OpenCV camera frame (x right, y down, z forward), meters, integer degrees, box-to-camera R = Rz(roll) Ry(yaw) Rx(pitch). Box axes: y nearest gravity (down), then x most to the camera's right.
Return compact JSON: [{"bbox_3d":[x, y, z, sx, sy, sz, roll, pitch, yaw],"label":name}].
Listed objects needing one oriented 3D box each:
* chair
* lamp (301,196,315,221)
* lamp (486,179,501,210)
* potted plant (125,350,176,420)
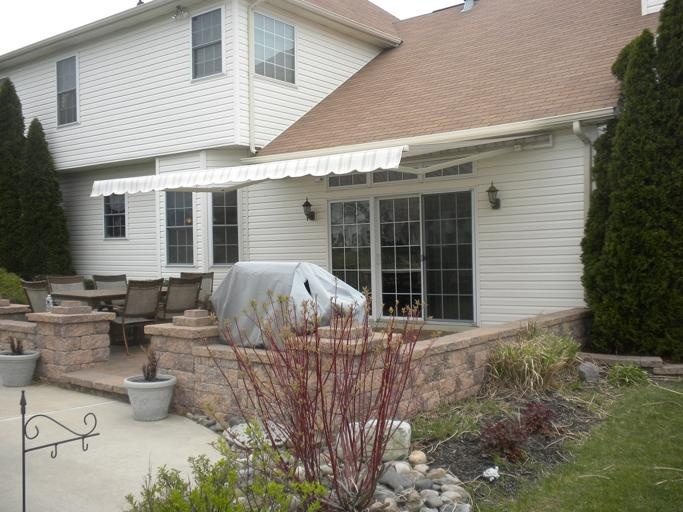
[{"bbox_3d":[-4.035,1.113,10.877,2.184,1.372,1.967,-3,-4,40],"label":"chair"},{"bbox_3d":[-0.821,-1.103,13.551,0.326,0.479,0.299,-3,-4,40],"label":"lamp"},{"bbox_3d":[3.068,-1.236,11.266,0.285,0.575,0.227,-1,-3,16],"label":"lamp"},{"bbox_3d":[-2.562,1.708,7.513,0.710,0.869,0.713,1,-3,-23],"label":"potted plant"}]
